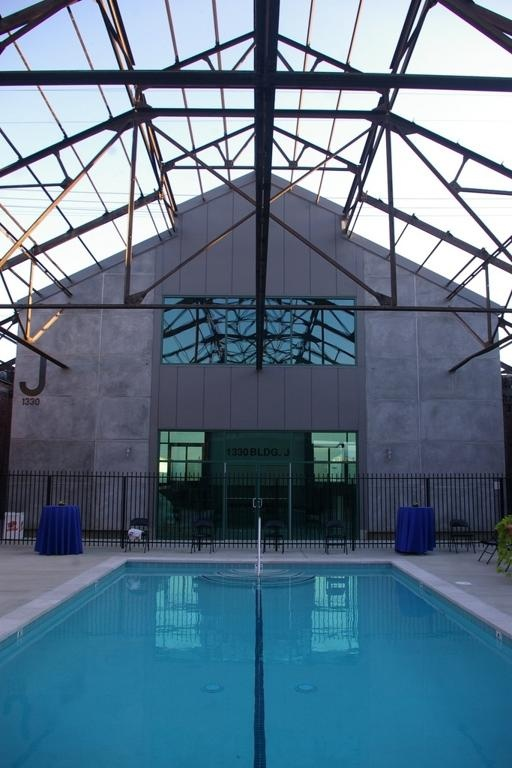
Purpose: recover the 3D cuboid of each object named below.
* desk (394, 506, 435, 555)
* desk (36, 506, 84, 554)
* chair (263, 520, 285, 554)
[{"bbox_3d":[4.285,4.014,14.984,1.045,1.387,1.075,-3,-21,11],"label":"desk"},{"bbox_3d":[-4.961,3.786,14.416,1.104,1.273,1.039,-1,-3,33],"label":"desk"},{"bbox_3d":[0.508,4.389,16.044,0.747,1.287,0.905,0,-19,3],"label":"chair"}]
